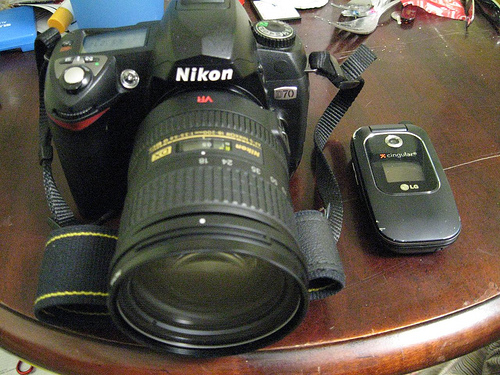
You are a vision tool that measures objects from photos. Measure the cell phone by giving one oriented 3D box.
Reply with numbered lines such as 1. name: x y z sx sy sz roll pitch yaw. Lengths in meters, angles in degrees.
1. cell phone: 0.236 0.007 0.651 0.119 0.061 0.212 -6 60 -4
